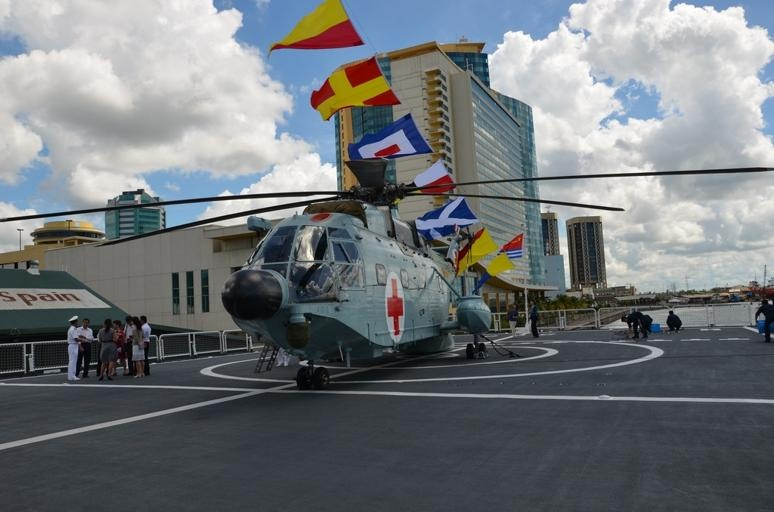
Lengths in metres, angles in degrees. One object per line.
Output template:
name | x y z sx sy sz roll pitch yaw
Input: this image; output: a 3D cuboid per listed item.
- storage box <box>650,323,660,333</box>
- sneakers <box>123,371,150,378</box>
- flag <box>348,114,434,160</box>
storage box | 13.026 3.528 32.274 0.685 0.452 0.366 -1 -12 -1
sneakers | -8.728 4.155 23.187 0.597 0.239 0.185 -11 -15 29
flag | -0.024 -3.563 21.190 2.282 1.624 0.605 -28 15 6
